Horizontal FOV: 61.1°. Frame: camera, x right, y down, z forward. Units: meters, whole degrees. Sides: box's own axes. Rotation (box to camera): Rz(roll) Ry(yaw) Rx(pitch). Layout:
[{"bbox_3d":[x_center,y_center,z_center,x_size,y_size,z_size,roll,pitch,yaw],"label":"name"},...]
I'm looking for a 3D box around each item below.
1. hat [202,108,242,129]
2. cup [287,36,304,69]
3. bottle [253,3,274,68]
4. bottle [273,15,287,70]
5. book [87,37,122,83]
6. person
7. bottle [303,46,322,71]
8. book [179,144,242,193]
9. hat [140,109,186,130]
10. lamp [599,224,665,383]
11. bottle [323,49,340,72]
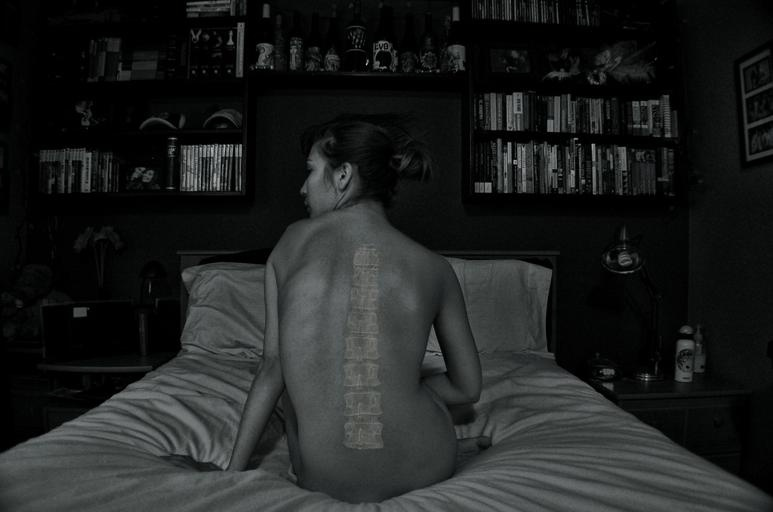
[{"bbox_3d":[-1.068,-0.895,4.331,0.213,0.158,0.200,-8,23,-1],"label":"hat"},{"bbox_3d":[-0.585,-1.312,4.244,0.098,0.242,0.059,1,-1,-9],"label":"cup"},{"bbox_3d":[-0.796,-1.414,4.287,0.134,0.457,0.175,1,-1,-12],"label":"bottle"},{"bbox_3d":[-0.690,-1.375,4.278,0.086,0.375,0.128,1,-1,-10],"label":"bottle"},{"bbox_3d":[-1.833,-1.283,4.281,0.206,0.314,0.083,1,-1,-20],"label":"book"},{"bbox_3d":[-0.111,0.187,2.749,0.997,1.605,0.315,1,-1,8],"label":"person"},{"bbox_3d":[-0.477,-1.275,4.259,0.112,0.181,0.096,1,-1,-7],"label":"bottle"},{"bbox_3d":[-1.147,-0.558,4.244,0.329,0.266,0.105,1,0,-2],"label":"book"},{"bbox_3d":[-1.438,-0.884,4.311,0.152,0.069,0.238,0,7,8],"label":"hat"},{"bbox_3d":[1.590,0.306,4.293,0.496,1.005,0.360,6,-8,-6],"label":"lamp"},{"bbox_3d":[-0.358,-1.278,4.280,0.109,0.151,0.066,1,-1,-7],"label":"bottle"}]
